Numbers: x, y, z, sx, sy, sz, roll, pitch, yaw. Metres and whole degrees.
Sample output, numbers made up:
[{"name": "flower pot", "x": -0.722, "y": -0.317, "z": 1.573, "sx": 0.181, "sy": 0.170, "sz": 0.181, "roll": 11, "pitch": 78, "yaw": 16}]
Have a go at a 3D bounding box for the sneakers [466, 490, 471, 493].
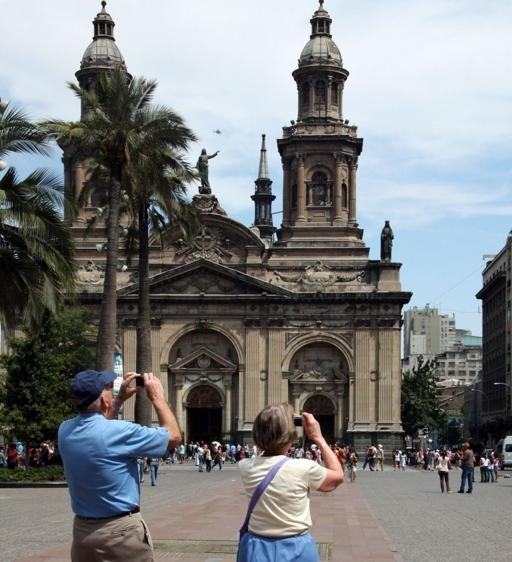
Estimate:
[{"name": "sneakers", "x": 6.130, "y": 6.066, "z": 37.028, "sx": 0.132, "sy": 0.108, "sz": 0.077, "roll": -2, "pitch": 2, "yaw": 6}]
